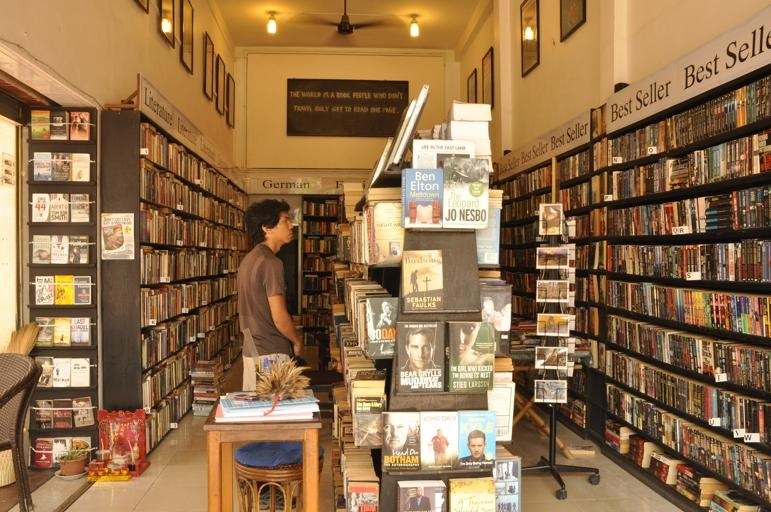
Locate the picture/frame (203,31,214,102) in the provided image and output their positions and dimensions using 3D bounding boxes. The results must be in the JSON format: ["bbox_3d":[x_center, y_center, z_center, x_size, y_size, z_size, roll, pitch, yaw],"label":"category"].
[{"bbox_3d":[-2.692,-2.835,9.490,0.037,1.039,0.979,-4,37,-20],"label":"picture/frame"}]

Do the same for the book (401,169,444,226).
[{"bbox_3d":[0.256,-0.366,4.234,0.311,0.394,0.339,2,-7,-14],"label":"book"}]

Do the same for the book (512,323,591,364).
[{"bbox_3d":[1.672,0.902,6.272,0.770,0.320,0.918,-4,-2,16],"label":"book"}]

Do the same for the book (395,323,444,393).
[{"bbox_3d":[0.213,0.660,4.124,0.438,0.611,0.069,0,1,0],"label":"book"}]

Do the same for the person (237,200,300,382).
[{"bbox_3d":[-0.983,0.302,5.226,0.504,1.608,0.504,-2,-2,-14],"label":"person"}]

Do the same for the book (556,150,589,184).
[{"bbox_3d":[2.039,-0.976,6.790,0.212,0.394,0.401,3,-6,-8],"label":"book"}]

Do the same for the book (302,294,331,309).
[{"bbox_3d":[-1.286,0.828,11.507,0.480,0.273,0.482,1,-8,-2],"label":"book"}]

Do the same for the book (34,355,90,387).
[{"bbox_3d":[-2.975,1.038,5.658,0.396,0.240,0.053,1,1,-2],"label":"book"}]

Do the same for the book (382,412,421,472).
[{"bbox_3d":[0.109,1.222,4.093,0.078,0.347,0.341,1,0,-10],"label":"book"}]

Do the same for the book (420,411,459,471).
[{"bbox_3d":[0.346,1.221,4.109,0.362,0.518,0.061,0,-4,-6],"label":"book"}]

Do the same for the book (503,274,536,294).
[{"bbox_3d":[1.617,0.328,7.388,0.278,0.129,0.377,1,-2,1],"label":"book"}]

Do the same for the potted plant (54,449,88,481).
[{"bbox_3d":[-2.875,1.894,5.680,0.243,0.181,0.239,9,-12,-22],"label":"potted plant"}]

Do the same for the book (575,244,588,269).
[{"bbox_3d":[2.110,0.004,6.632,0.172,0.237,0.238,0,-2,1],"label":"book"}]

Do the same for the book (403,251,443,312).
[{"bbox_3d":[0.200,0.168,4.294,0.280,0.398,0.376,-1,0,-1],"label":"book"}]

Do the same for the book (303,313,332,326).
[{"bbox_3d":[-1.271,1.158,11.434,0.511,0.321,0.254,-3,-2,0],"label":"book"}]

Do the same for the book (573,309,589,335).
[{"bbox_3d":[2.061,0.687,6.538,0.142,0.279,0.281,-1,-4,5],"label":"book"}]

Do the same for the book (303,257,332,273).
[{"bbox_3d":[-1.277,0.166,11.539,0.733,0.270,0.395,-1,0,0],"label":"book"}]

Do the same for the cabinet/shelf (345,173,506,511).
[{"bbox_3d":[0.296,0.630,4.160,0.704,2.121,2.078,0,-8,-6],"label":"cabinet/shelf"}]
